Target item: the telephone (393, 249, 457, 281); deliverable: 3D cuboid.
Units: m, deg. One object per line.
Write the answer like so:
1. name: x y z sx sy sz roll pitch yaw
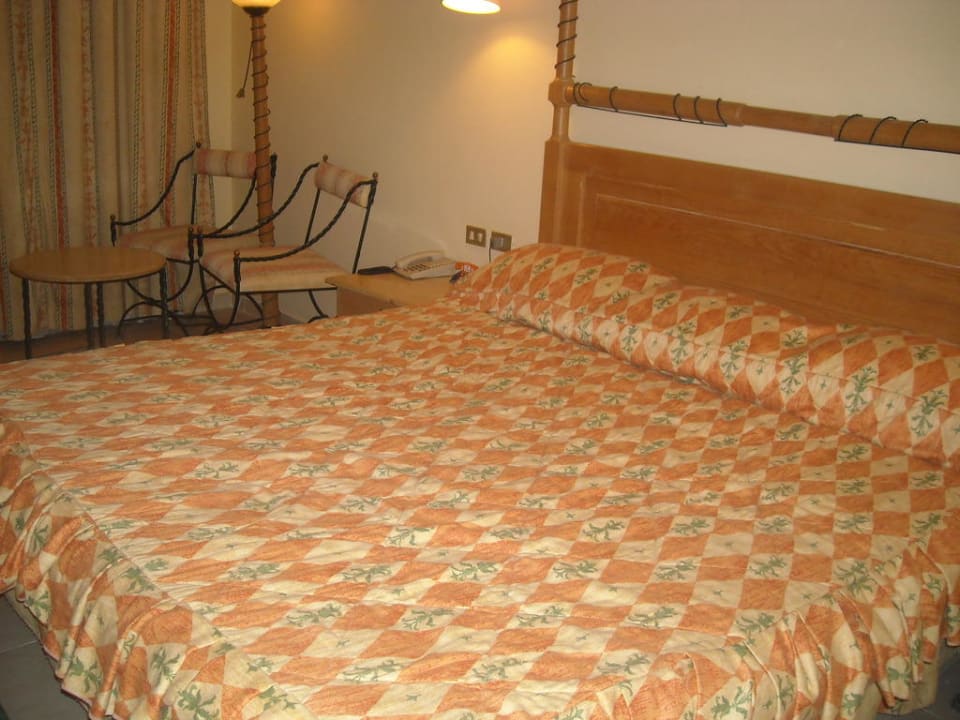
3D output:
1. telephone: -0.320 -0.534 4.263 0.289 0.084 0.193 -7 17 -33

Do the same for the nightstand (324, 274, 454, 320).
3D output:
1. nightstand: -0.466 -0.373 4.066 0.450 0.337 0.331 20 28 40

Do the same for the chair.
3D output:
1. chair: -1.549 -0.792 4.912 1.599 0.920 0.892 20 24 33
